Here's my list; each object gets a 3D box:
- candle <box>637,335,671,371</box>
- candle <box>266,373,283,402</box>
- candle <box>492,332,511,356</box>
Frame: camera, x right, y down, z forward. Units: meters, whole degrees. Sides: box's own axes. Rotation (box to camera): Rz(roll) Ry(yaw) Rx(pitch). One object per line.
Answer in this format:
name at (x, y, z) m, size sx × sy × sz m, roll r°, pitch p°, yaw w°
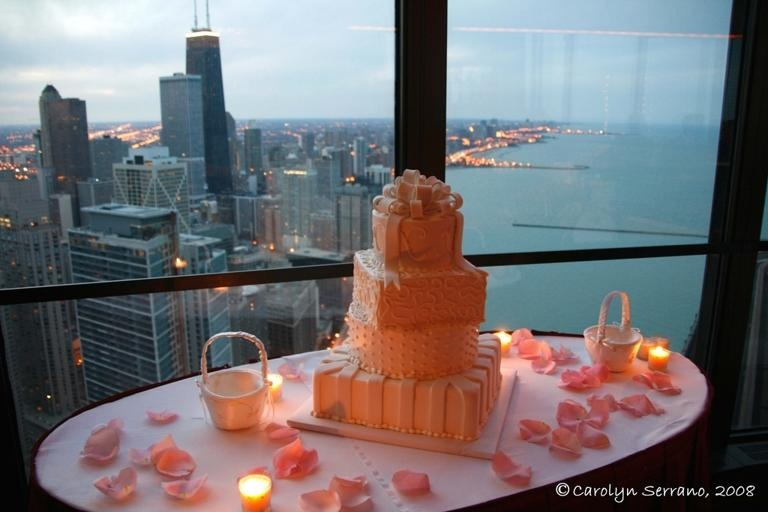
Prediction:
candle at (1.752, 0.631, 3.681) m, size 0.100 × 0.140 × 0.315 m, roll 2°, pitch 4°, yaw 16°
candle at (-0.659, 0.777, 3.429) m, size 0.132 × 0.187 × 0.133 m, roll -1°, pitch 6°, yaw -15°
candle at (0.825, 0.590, 3.908) m, size 0.139 × 0.137 × 0.170 m, roll 2°, pitch 6°, yaw 24°
